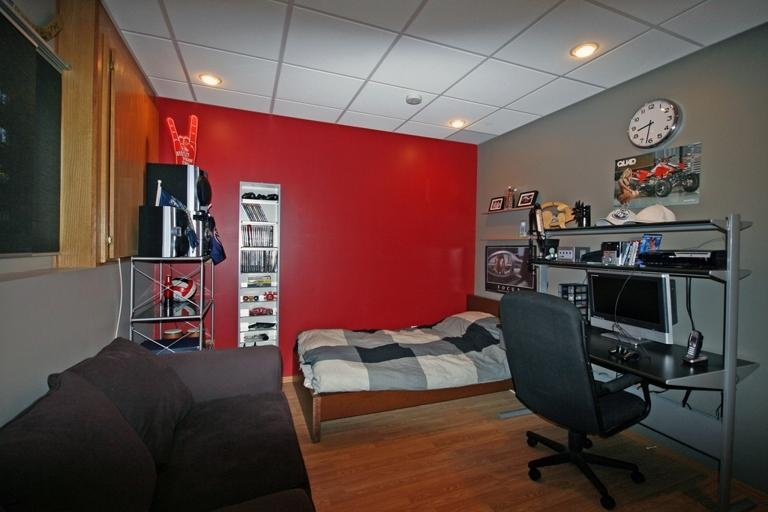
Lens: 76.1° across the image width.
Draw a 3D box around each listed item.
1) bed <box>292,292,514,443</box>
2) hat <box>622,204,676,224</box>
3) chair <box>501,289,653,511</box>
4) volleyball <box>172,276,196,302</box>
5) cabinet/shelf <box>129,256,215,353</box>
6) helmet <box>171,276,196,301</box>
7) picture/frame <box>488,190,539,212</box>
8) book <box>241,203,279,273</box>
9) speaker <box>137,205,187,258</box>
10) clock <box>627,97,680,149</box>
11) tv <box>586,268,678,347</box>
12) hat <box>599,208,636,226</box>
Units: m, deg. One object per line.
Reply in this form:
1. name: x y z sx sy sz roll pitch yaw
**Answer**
1. bed: 0.095 0.969 4.984 1.809 0.771 1.304 -2 2 -23
2. hat: 2.400 -0.359 4.325 0.299 0.114 0.202 -6 6 -29
3. chair: 1.521 1.107 3.928 1.031 1.682 0.599 -2 3 -24
4. volleyball: -1.923 0.330 4.691 0.214 0.229 0.384 -2 3 -23
5. cabinet/shelf: -2.059 0.475 4.704 0.487 0.963 0.996 -2 4 -27
6. helmet: -1.933 0.330 4.720 0.201 0.202 0.269 7 -4 -30
7. picture/frame: 1.582 -0.671 6.042 0.167 0.240 0.844 -2 3 -25
8. book: -1.446 -0.208 5.662 0.423 0.792 0.180 -2 3 -15
9. speaker: -2.037 -0.193 4.574 0.413 0.576 0.615 0 1 -21
10. clock: 2.530 -1.227 4.624 0.086 0.505 0.522 7 3 -26
11. tv: 2.259 0.471 4.393 0.316 0.592 0.728 -1 1 -28
12. hat: 2.218 -0.358 4.617 0.309 0.111 0.199 -5 6 -26
